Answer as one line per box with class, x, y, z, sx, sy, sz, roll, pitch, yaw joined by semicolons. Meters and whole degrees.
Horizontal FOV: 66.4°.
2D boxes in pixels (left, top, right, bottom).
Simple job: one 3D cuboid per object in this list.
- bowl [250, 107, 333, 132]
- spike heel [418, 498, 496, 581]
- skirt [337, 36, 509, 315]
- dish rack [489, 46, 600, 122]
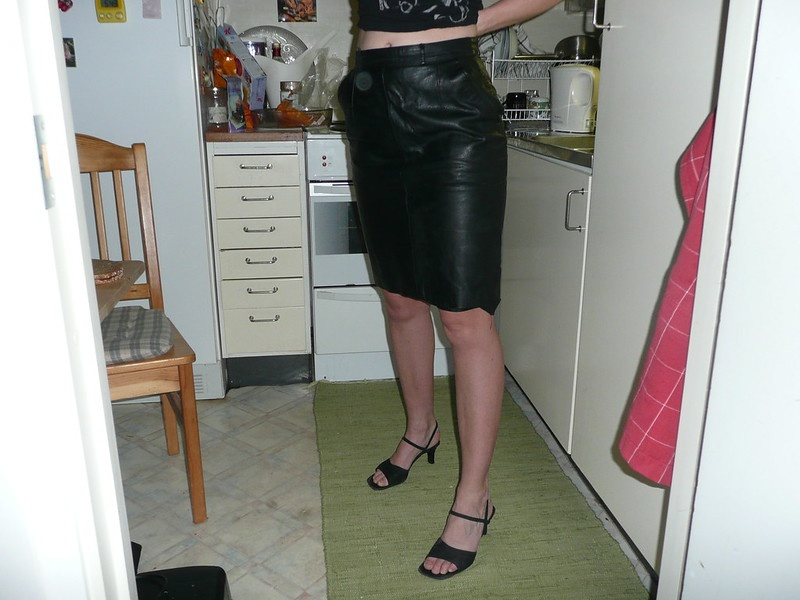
bowl;-0.444;-0.752;2.537;0.316;0.078;0.489;-6;18;-6
spike heel;0.160;0.579;1.565;0.091;0.112;0.273;8;20;31
skirt;0.059;-0.285;1.476;0.385;0.626;0.223;-1;18;7
dish rack;0.566;-0.944;2.687;0.149;0.213;0.281;-17;28;-38
